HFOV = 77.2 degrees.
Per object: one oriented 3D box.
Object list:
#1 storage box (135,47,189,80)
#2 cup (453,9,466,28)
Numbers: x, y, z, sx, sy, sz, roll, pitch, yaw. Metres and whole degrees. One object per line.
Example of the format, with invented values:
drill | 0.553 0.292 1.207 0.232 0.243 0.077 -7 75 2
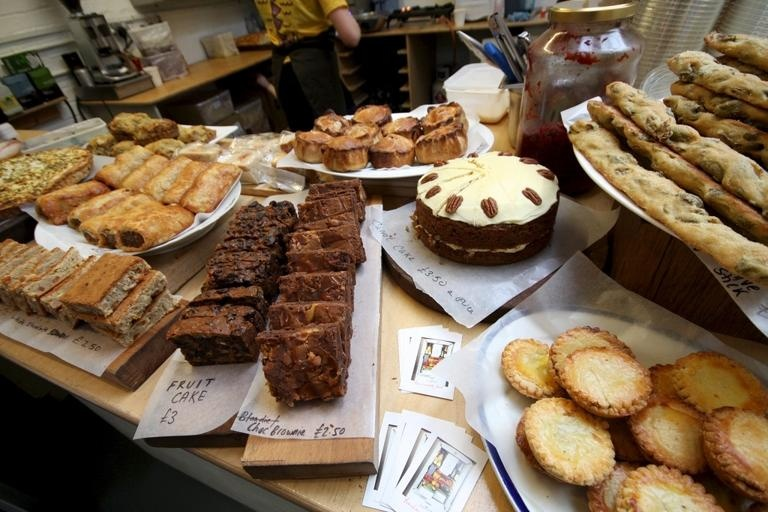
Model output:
storage box | -2.519 -2.226 5.517 0.406 0.260 0.411 -4 36 -8
cup | 0.903 -2.861 5.775 0.137 0.179 0.298 -2 45 7
